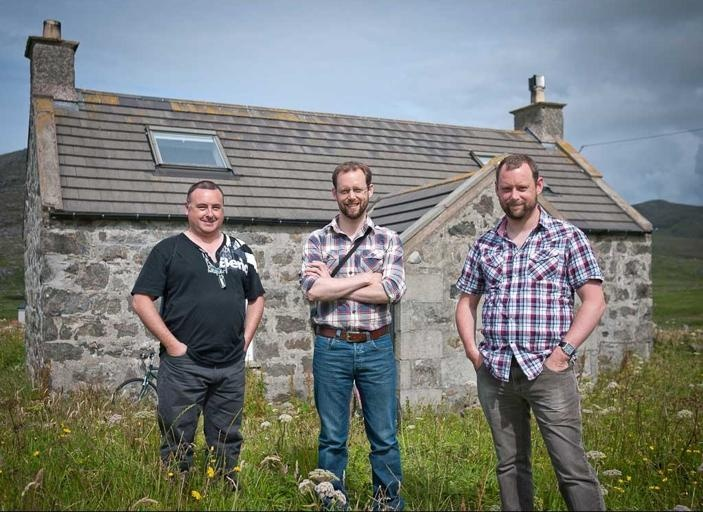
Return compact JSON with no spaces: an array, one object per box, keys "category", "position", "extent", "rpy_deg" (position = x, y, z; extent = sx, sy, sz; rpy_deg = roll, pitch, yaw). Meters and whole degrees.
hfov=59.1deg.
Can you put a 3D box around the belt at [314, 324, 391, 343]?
[{"category":"belt","position":[0.012,0.727,5.938],"extent":[0.707,0.175,0.213],"rpy_deg":[-3,-1,-3]}]

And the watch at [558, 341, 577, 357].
[{"category":"watch","position":[1.827,0.779,5.242],"extent":[0.063,0.090,0.093],"rpy_deg":[-40,13,-14]}]

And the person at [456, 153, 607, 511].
[{"category":"person","position":[1.584,0.676,5.489],"extent":[1.230,2.580,0.373],"rpy_deg":[-3,-1,22]}]

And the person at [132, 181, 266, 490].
[{"category":"person","position":[-1.447,0.633,5.968],"extent":[1.190,2.751,0.376],"rpy_deg":[-2,-1,-22]}]
